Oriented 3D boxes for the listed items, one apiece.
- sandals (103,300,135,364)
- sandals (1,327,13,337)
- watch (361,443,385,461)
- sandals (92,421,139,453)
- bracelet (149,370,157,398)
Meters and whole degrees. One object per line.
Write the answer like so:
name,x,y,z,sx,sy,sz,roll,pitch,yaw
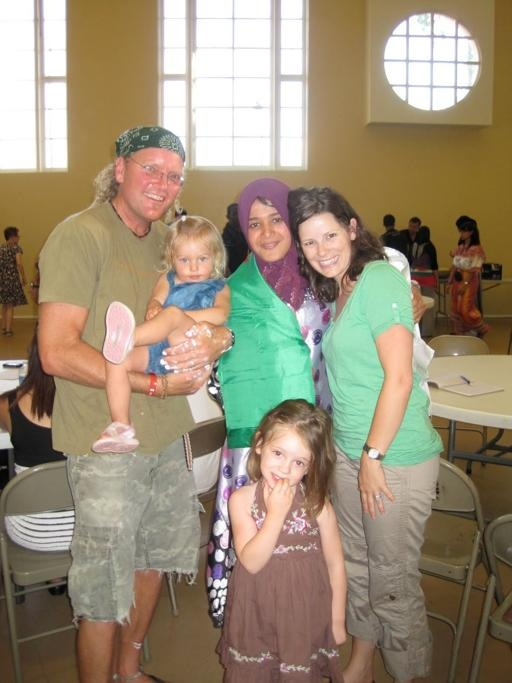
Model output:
sandals,-0.326,-0.025,1.478,0.088,0.141,0.058,7,0,19
sandals,-3.594,-0.119,8.513,0.137,0.055,0.174,-4,24,-35
watch,0.294,0.281,1.473,0.050,0.031,0.051,7,-2,-11
sandals,-0.333,0.236,1.439,0.121,0.053,0.050,-10,35,-17
bracelet,-0.275,0.114,1.569,0.017,0.044,0.041,-1,8,-7
